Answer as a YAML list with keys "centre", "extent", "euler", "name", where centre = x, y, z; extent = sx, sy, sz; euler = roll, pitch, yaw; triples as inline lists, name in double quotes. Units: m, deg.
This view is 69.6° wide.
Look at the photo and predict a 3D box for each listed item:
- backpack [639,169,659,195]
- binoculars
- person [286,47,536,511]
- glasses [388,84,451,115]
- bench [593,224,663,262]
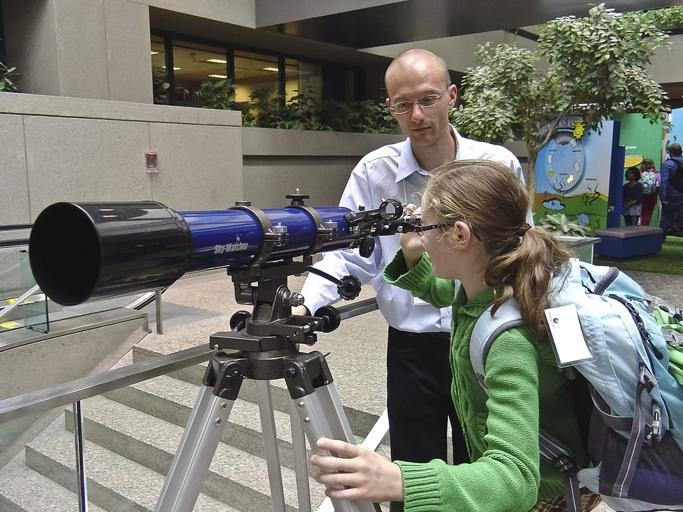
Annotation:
- centre: [5.594, -1.338, 8.982]
  extent: [0.381, 0.438, 0.162]
  euler: [-2, 14, -11]
  name: "backpack"
- centre: [-0.225, -0.050, 1.049]
  extent: [0.740, 0.177, 0.257]
  euler: [-9, 17, -35]
  name: "binoculars"
- centre: [0.289, 0.146, 1.894]
  extent: [0.782, 1.625, 0.739]
  euler: [14, 13, -17]
  name: "person"
- centre: [0.256, -0.535, 1.686]
  extent: [0.212, 0.103, 0.159]
  euler: [4, 14, 12]
  name: "glasses"
- centre: [5.002, -0.246, 8.645]
  extent: [1.078, 0.456, 0.533]
  euler: [-7, 10, -27]
  name: "bench"
